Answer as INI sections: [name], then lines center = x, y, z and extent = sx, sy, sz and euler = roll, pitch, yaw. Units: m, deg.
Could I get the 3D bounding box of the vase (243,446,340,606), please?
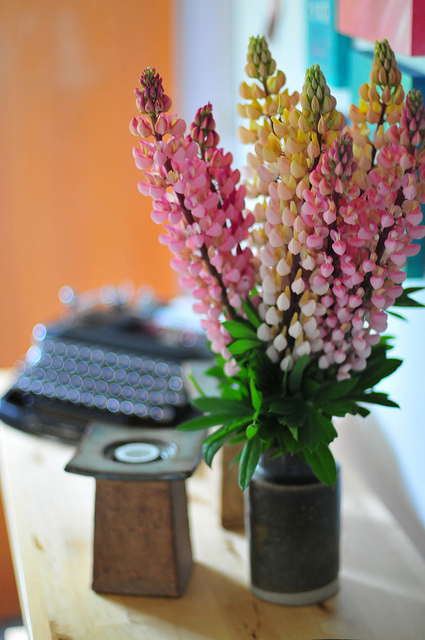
[vase]
center = 0.069, 0.182, 0.564
extent = 0.103, 0.140, 0.079
euler = -6, 23, -25
